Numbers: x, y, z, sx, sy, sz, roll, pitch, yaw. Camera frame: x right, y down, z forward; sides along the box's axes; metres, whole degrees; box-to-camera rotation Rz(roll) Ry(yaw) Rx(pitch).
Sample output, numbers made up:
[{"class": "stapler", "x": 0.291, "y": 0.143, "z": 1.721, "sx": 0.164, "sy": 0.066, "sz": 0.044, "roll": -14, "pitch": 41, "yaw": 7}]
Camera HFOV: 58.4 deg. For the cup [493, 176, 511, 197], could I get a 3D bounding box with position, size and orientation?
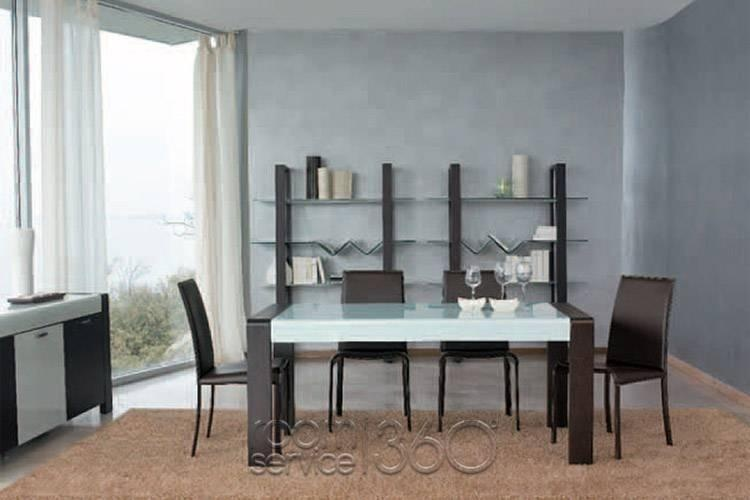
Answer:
[{"class": "cup", "x": 1.407, "y": -0.694, "z": 7.422, "sx": 0.206, "sy": 0.237, "sz": 0.178, "roll": -1, "pitch": 1, "yaw": 6}]
